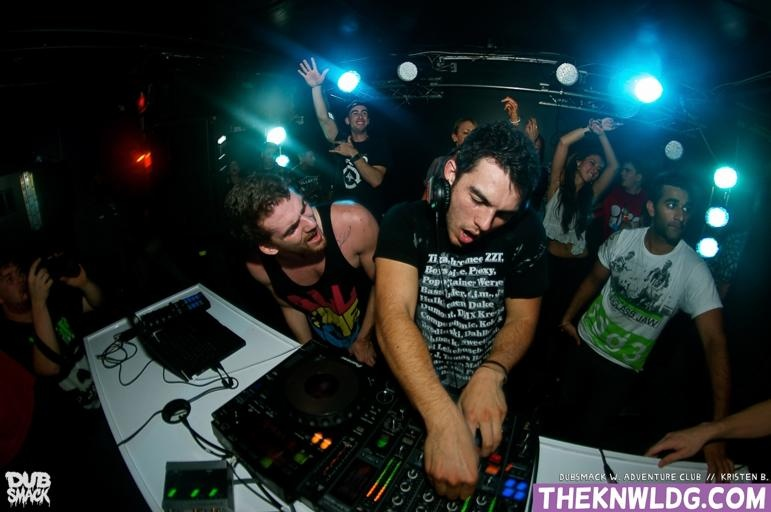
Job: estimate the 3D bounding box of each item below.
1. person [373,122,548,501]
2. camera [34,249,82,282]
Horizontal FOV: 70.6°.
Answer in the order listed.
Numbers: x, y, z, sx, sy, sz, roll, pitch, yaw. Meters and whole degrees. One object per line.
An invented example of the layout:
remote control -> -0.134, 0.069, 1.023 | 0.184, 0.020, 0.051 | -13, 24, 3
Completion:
person -> 0.590, 0.368, 4.725 | 1.452, 3.064, 1.015 | 13, 9, 6
camera -> -3.280, 0.098, 5.603 | 0.375, 0.277, 0.121 | 32, 6, -13
